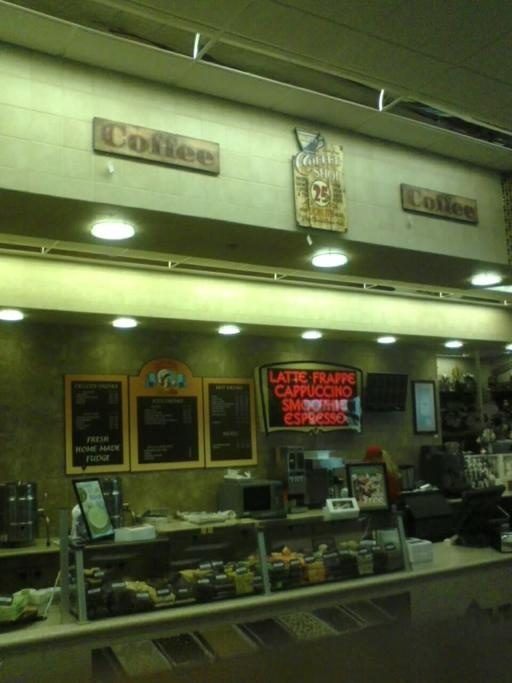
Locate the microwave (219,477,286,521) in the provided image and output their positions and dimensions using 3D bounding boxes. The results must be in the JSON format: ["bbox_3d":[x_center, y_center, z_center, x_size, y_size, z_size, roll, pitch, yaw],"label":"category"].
[{"bbox_3d":[-0.079,1.350,5.674,0.365,0.246,0.381,6,-10,-37],"label":"microwave"}]

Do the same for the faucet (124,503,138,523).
[{"bbox_3d":[-1.076,1.453,5.466,0.106,0.172,0.042,-11,13,25],"label":"faucet"}]

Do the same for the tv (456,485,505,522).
[{"bbox_3d":[1.501,1.078,4.343,0.257,0.240,0.060,12,7,-33],"label":"tv"}]
